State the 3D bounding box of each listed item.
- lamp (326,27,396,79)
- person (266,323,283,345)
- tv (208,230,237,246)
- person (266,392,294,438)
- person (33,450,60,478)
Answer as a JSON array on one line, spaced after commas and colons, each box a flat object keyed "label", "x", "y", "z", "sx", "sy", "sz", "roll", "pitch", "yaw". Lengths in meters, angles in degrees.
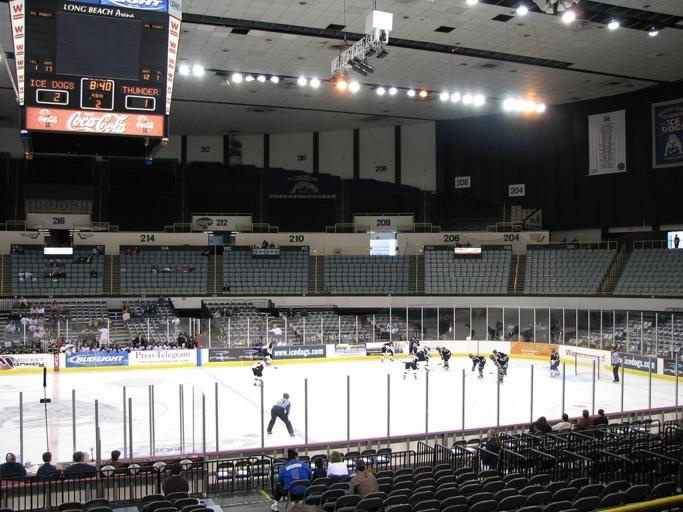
[{"label": "lamp", "x": 0.671, "y": -6.745, "z": 28.522, "sx": 1.059, "sy": 0.803, "sz": 3.054, "roll": 3, "pitch": 1, "yaw": -13}, {"label": "person", "x": -3.122, "y": 3.577, "z": 38.209, "sx": 0.190, "sy": 0.759, "sz": 0.825, "roll": 0, "pitch": -7, "yaw": 42}, {"label": "tv", "x": -6.835, "y": -0.906, "z": 47.998, "sx": 1.536, "sy": 0.836, "sz": 0.742, "roll": 2, "pitch": -2, "yaw": -14}, {"label": "person", "x": -1.804, "y": 4.780, "z": 25.479, "sx": 0.779, "sy": 1.281, "sz": 0.753, "roll": 3, "pitch": -8, "yaw": 9}, {"label": "person", "x": -7.659, "y": 5.398, "z": 21.946, "sx": 0.756, "sy": 0.840, "sz": 0.482, "roll": 5, "pitch": 8, "yaw": -12}]
